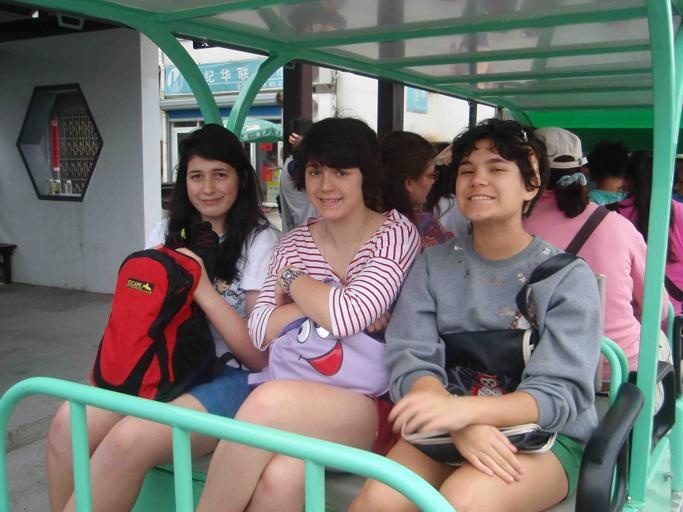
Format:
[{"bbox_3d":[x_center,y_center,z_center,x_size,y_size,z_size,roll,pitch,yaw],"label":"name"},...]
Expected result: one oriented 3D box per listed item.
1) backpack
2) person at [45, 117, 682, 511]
[{"bbox_3d":[-0.826,0.289,2.499,0.424,0.603,0.525,9,16,20],"label":"backpack"},{"bbox_3d":[0.392,0.188,2.914,2.669,1.603,1.119,2,-5,-38],"label":"person"}]
